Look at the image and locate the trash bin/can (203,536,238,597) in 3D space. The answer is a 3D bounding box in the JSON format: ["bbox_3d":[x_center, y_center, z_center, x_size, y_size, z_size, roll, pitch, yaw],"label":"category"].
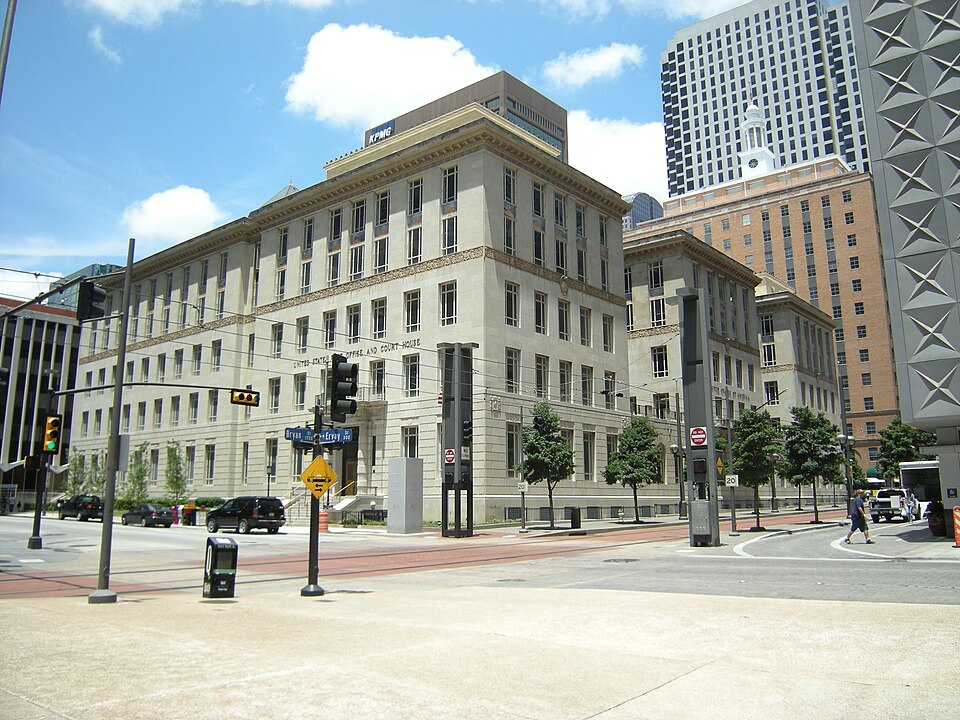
[{"bbox_3d":[-5.981,4.699,18.114,0.665,1.381,0.758,3,-16,-19],"label":"trash bin/can"}]

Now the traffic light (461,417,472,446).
[{"bbox_3d":[-0.746,3.855,42.667,0.507,1.357,0.409,-3,-15,5],"label":"traffic light"}]

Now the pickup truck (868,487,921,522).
[{"bbox_3d":[27.910,9.611,52.814,2.156,1.522,4.630,-6,-10,40],"label":"pickup truck"}]

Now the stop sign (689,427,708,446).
[{"bbox_3d":[8.412,2.924,30.221,0.174,0.608,0.697,9,-7,-36],"label":"stop sign"}]

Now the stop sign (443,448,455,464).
[{"bbox_3d":[-1.632,5.083,42.229,0.689,0.842,0.414,-5,-15,11],"label":"stop sign"}]
